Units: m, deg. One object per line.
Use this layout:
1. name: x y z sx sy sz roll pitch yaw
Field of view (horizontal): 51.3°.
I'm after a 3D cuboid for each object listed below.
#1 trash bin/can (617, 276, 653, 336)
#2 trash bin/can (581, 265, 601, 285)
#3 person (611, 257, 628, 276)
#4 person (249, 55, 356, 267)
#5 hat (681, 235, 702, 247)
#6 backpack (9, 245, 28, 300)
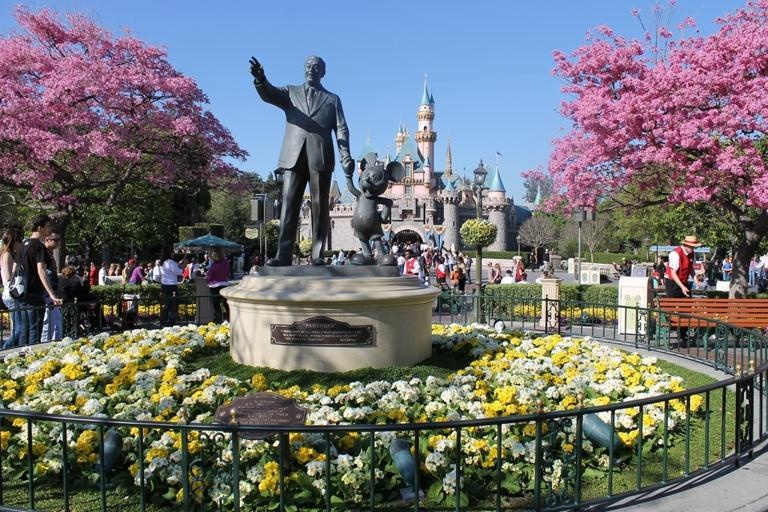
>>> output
1. trash bin/can: 5.990 1.197 19.037 0.916 1.406 0.969 2 -4 4
2. trash bin/can: 9.399 0.888 36.314 0.540 0.850 0.932 4 -4 -36
3. person: 14.781 0.696 49.927 0.912 1.008 1.760 -2 -2 1
4. person: -1.334 -1.630 13.911 1.578 3.238 1.054 -1 0 -4
5. hat: 6.364 -0.279 16.486 0.487 0.251 0.234 -2 0 -34
6. backpack: -6.736 0.312 14.745 0.426 0.815 0.200 -2 0 31
